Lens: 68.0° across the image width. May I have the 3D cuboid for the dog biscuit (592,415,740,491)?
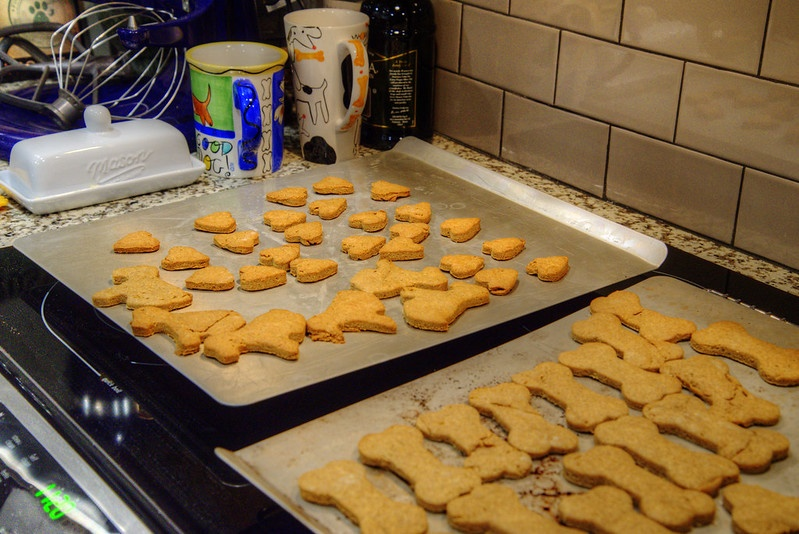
[{"bbox_3d":[0.336,0.232,0.741,0.071,0.017,0.134,-23,39,-32],"label":"dog biscuit"}]

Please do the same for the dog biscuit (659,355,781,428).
[{"bbox_3d":[0.447,0.166,0.807,0.068,0.017,0.121,-19,36,-19],"label":"dog biscuit"}]

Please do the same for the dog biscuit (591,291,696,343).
[{"bbox_3d":[0.382,0.078,0.924,0.069,0.016,0.125,-28,39,-28],"label":"dog biscuit"}]

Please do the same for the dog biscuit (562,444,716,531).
[{"bbox_3d":[0.287,0.252,0.701,0.077,0.019,0.140,-24,39,-36],"label":"dog biscuit"}]

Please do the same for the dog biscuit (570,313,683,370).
[{"bbox_3d":[0.334,0.093,0.863,0.120,0.017,0.069,31,48,33],"label":"dog biscuit"}]

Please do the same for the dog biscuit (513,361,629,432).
[{"bbox_3d":[0.241,0.166,0.798,0.075,0.018,0.126,-20,39,-28],"label":"dog biscuit"}]
